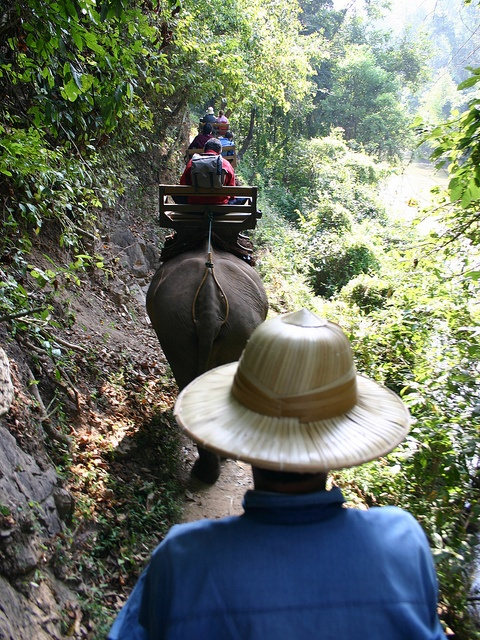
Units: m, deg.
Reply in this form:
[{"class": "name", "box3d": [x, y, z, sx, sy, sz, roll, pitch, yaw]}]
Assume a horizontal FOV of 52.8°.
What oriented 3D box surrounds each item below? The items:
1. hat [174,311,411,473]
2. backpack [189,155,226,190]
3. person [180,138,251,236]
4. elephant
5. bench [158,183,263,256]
[{"class": "hat", "box3d": [0.134, 0.220, 1.296, 0.511, 0.217, 0.515, 15, 27, 39]}, {"class": "backpack", "box3d": [-0.299, -1.369, 4.443, 0.299, 0.313, 0.286, 0, 7, -5]}, {"class": "person", "box3d": [-0.247, -1.422, 4.805, 0.772, 0.706, 0.495, 3, 8, -2]}, {"class": "elephant", "box3d": [-0.162, 0.076, 3.607, 0.760, 1.319, 2.347, 1, 28, -5]}, {"class": "bench", "box3d": [-0.322, -1.019, 4.718, 0.879, 0.567, 0.829, 2, 34, -2]}]
